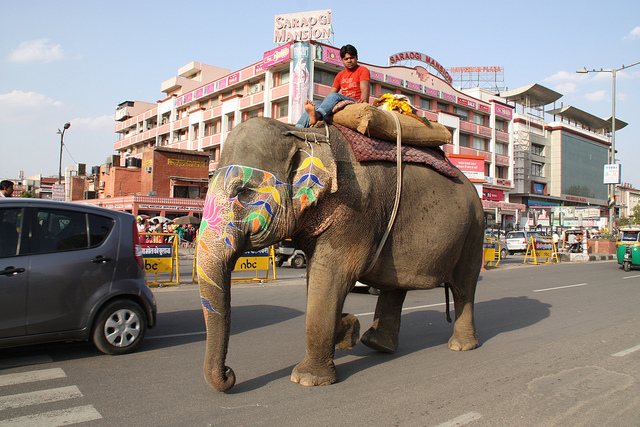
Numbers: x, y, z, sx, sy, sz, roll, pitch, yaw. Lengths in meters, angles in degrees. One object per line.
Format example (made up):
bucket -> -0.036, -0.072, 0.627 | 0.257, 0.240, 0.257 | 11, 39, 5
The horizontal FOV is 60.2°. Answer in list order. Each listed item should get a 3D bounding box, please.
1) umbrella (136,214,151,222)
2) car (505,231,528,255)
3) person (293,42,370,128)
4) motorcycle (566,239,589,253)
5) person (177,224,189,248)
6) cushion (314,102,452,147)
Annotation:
umbrella -> -9.824, 0.188, 30.660 | 0.751, 0.375, 0.943 | 0, 1, 21
car -> 12.380, 1.700, 34.484 | 0.997, 0.903, 1.732 | -3, 4, 26
person -> 0.157, -1.961, 8.595 | 0.986, 1.289, 1.680 | 2, 13, 42
motorcycle -> 15.482, 1.927, 33.120 | 1.213, 0.681, 0.598 | 7, -14, -20
person -> -7.671, 1.266, 30.773 | 0.430, 1.414, 1.378 | -1, 3, 6
cushion -> 0.900, -1.297, 8.009 | 1.495, 0.715, 1.592 | 0, -1, 35
